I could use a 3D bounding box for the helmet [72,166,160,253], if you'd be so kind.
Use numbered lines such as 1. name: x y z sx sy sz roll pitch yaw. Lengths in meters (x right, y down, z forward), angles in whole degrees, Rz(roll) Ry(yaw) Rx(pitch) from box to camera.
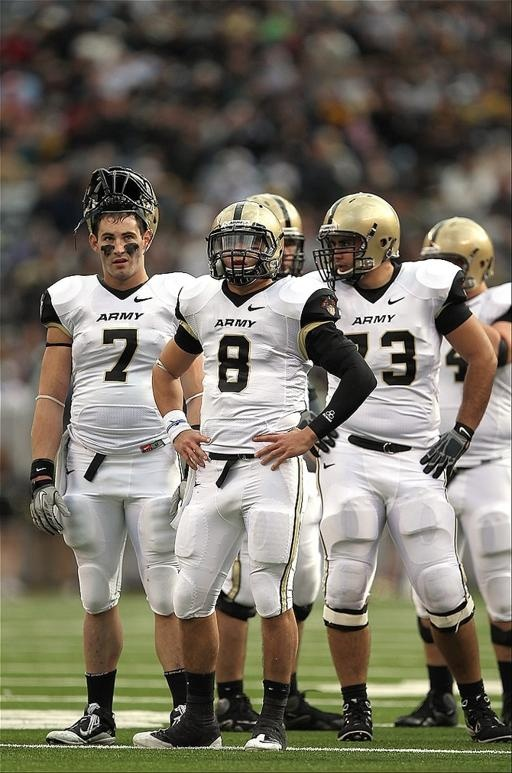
1. helmet: -0.549 -0.665 3.566 0.292 0.325 0.262 4 -5 0

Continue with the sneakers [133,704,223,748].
1. sneakers: -0.299 1.118 2.964 0.358 0.152 0.112 2 -9 9

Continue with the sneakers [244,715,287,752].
1. sneakers: 0.029 1.090 2.769 0.127 0.104 0.166 0 12 1

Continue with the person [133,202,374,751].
1. person: -0.008 0.248 2.960 0.613 1.679 0.868 -8 16 -29

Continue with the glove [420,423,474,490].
1. glove: 0.669 0.243 3.227 0.129 0.229 0.078 51 3 26

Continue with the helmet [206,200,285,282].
1. helmet: -0.029 -0.489 3.059 0.270 0.247 0.325 2 6 11

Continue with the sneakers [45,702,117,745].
1. sneakers: -0.589 1.181 3.146 0.263 0.130 0.103 7 -14 -27

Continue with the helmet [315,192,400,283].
1. helmet: 0.412 -0.575 3.495 0.379 0.327 0.288 -5 9 -17

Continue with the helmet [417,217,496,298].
1. helmet: 1.014 -0.681 4.576 0.413 0.326 0.324 -20 24 -40

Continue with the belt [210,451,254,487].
1. belt: -0.094 0.265 2.889 0.169 0.115 0.058 8 16 33

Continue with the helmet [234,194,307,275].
1. helmet: 0.003 -0.753 4.448 0.394 0.343 0.298 6 1 21

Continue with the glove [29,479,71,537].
1. glove: -0.744 0.456 3.262 0.131 0.195 0.197 -3 13 -13
